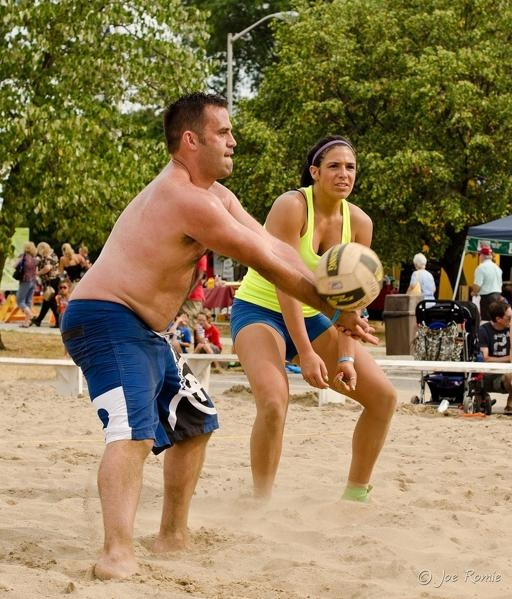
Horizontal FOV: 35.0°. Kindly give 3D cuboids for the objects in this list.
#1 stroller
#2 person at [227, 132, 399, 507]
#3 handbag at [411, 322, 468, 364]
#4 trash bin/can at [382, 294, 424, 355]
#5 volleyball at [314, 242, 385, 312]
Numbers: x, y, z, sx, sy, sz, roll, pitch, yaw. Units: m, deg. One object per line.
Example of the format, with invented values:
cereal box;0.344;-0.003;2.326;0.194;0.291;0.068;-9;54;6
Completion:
stroller;1.581;0.571;8.852;1.020;1.517;1.260;0;-3;36
person;0.235;0.115;4.091;0.850;1.717;0.868;1;0;-1
handbag;2.116;0.470;9.140;0.503;0.417;0.469;0;4;30
trash bin/can;2.425;0.379;13.607;0.734;1.097;0.680;2;6;39
volleyball;0.339;-0.090;3.044;0.274;0.245;0.309;1;4;-11
